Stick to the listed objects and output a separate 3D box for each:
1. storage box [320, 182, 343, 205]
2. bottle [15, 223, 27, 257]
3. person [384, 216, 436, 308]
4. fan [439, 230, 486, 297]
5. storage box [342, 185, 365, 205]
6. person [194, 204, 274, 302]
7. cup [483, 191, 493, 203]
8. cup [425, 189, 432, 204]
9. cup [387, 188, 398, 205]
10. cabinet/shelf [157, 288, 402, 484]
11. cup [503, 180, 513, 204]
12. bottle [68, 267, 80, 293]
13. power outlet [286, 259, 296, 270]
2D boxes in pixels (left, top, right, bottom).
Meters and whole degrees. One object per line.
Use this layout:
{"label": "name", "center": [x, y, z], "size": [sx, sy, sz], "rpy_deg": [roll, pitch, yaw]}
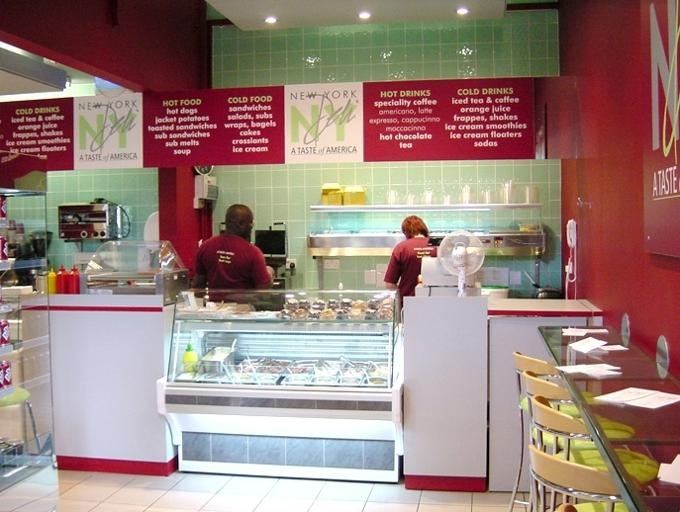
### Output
{"label": "storage box", "center": [-0.104, -0.746, 6.546], "size": [0.335, 0.245, 0.227], "rpy_deg": [2, 9, 5]}
{"label": "bottle", "center": [-2.170, -0.111, 3.699], "size": [0.024, 0.150, 0.072], "rpy_deg": [-2, 4, 21]}
{"label": "person", "center": [0.649, 0.037, 5.082], "size": [0.468, 0.803, 0.506], "rpy_deg": [-3, 4, 5]}
{"label": "fan", "center": [0.893, 0.060, 4.040], "size": [0.312, 0.455, 0.101], "rpy_deg": [-3, 4, 8]}
{"label": "storage box", "center": [0.170, -0.717, 6.498], "size": [0.248, 0.184, 0.228], "rpy_deg": [1, 5, 5]}
{"label": "person", "center": [-1.029, -0.022, 5.189], "size": [0.701, 1.370, 0.456], "rpy_deg": [8, 22, 12]}
{"label": "cup", "center": [1.711, -0.689, 6.347], "size": [0.090, 0.136, 0.081], "rpy_deg": [-3, 4, 13]}
{"label": "cup", "center": [1.062, -0.709, 6.557], "size": [0.105, 0.166, 0.260], "rpy_deg": [-3, 4, 10]}
{"label": "cup", "center": [0.634, -0.725, 6.635], "size": [0.136, 0.185, 0.200], "rpy_deg": [-3, 4, 5]}
{"label": "cabinet/shelf", "center": [-0.360, 0.912, 4.707], "size": [2.398, 1.885, 1.334], "rpy_deg": [0, 3, 10]}
{"label": "cup", "center": [1.921, -0.721, 6.258], "size": [0.105, 0.227, 0.080], "rpy_deg": [-5, 4, -19]}
{"label": "bottle", "center": [-2.180, 0.195, 4.471], "size": [0.095, 0.208, 0.135], "rpy_deg": [-5, 4, -27]}
{"label": "power outlet", "center": [-0.615, 0.097, 6.819], "size": [0.108, 0.137, 0.201], "rpy_deg": [0, 0, 4]}
